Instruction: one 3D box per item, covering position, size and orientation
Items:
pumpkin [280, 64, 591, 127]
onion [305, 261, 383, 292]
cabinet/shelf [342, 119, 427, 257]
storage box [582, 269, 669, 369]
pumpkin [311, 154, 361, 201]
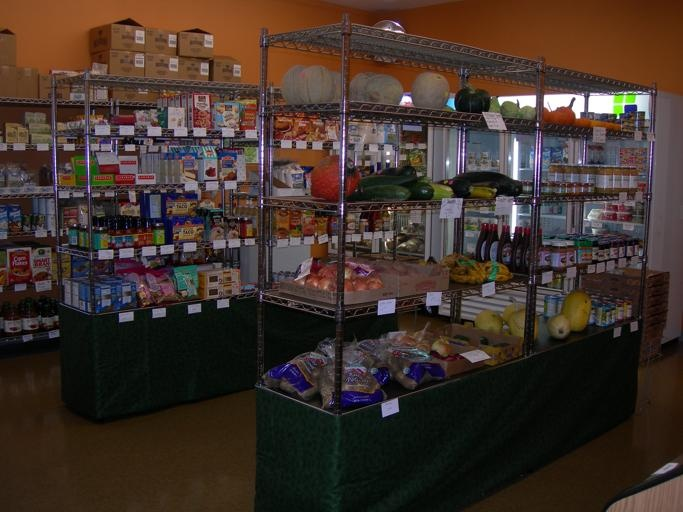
[{"bbox_3d":[0.610,-0.956,3.239,2.032,0.250,0.509,-5,12,-30],"label":"pumpkin"},{"bbox_3d":[0.037,0.066,2.928,0.403,0.142,0.385,3,12,9],"label":"onion"},{"bbox_3d":[0.524,-0.476,5.496,1.265,1.723,0.517,-4,13,-26],"label":"cabinet/shelf"},{"bbox_3d":[2.902,0.450,5.953,0.892,1.198,1.023,12,13,43],"label":"storage box"},{"bbox_3d":[-0.039,-0.393,2.748,0.248,0.236,0.435,1,10,0],"label":"pumpkin"}]
